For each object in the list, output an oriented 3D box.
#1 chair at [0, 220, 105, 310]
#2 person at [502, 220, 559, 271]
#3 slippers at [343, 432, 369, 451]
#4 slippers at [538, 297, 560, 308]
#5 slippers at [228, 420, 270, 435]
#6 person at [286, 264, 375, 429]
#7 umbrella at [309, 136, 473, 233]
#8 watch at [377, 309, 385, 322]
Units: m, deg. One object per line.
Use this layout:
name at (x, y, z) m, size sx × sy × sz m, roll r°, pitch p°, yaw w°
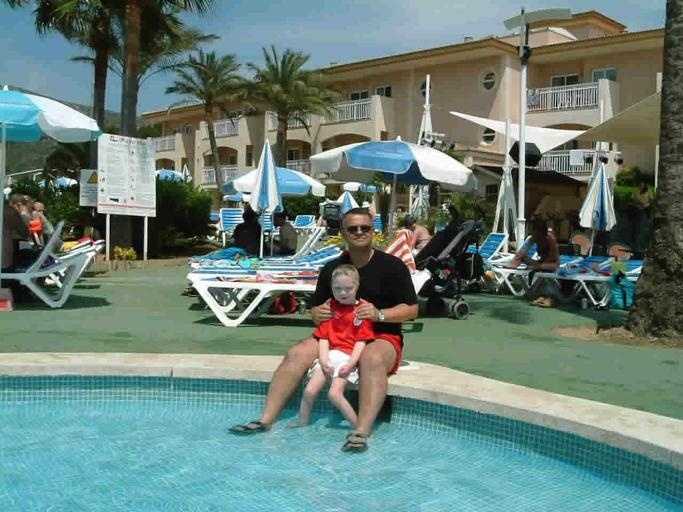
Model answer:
chair at (-4.511, 0.245, 10.357) m, size 1.552 × 1.026 × 1.030 m, roll 2°, pitch 1°, yaw -19°
person at (3.544, -0.161, 11.775) m, size 0.971 × 0.850 × 0.688 m, roll 3°, pitch 1°, yaw -39°
slippers at (0.113, 1.462, 5.269) m, size 0.215 × 0.140 × 0.141 m, roll 1°, pitch 5°, yaw -9°
slippers at (3.254, 0.737, 10.543) m, size 0.126 × 0.234 × 0.424 m, roll 31°, pitch -3°, yaw 2°
slippers at (-0.770, 1.399, 5.517) m, size 0.301 × 0.072 × 0.134 m, roll 7°, pitch -12°, yaw -35°
person at (-0.051, 0.755, 5.713) m, size 0.603 × 1.364 × 0.468 m, roll 3°, pitch 5°, yaw 15°
umbrella at (1.156, -1.541, 11.528) m, size 1.919 × 1.221 × 1.878 m, roll 10°, pitch 0°, yaw -37°
watch at (0.340, 0.515, 5.706) m, size 0.055 × 0.082 × 0.083 m, roll -1°, pitch 7°, yaw -3°
